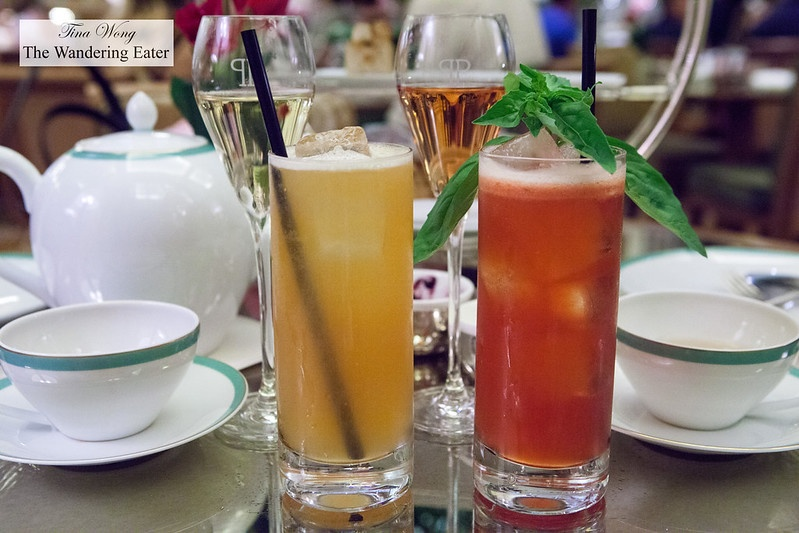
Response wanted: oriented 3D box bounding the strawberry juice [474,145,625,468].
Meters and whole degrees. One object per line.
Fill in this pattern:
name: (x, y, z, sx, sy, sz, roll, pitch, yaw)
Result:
strawberry juice: (0.143, 0.044, 0.677, 0.132, 0.288, 0.152, 2, 31, 15)
